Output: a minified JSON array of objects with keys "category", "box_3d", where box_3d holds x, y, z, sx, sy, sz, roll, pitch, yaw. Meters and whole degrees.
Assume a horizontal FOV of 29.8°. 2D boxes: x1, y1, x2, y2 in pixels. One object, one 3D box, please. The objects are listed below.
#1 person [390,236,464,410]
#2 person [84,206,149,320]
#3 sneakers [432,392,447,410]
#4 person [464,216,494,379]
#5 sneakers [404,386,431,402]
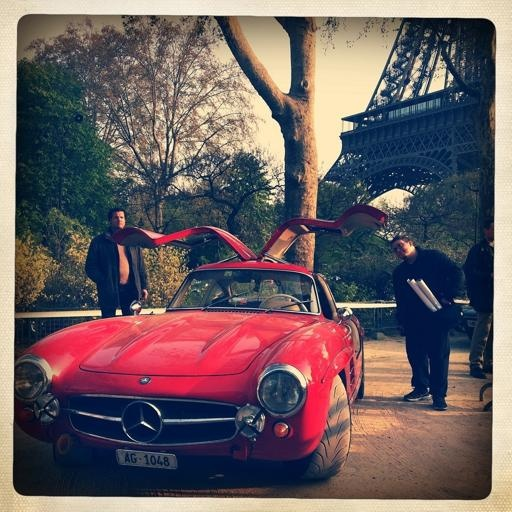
[{"category":"person","box_3d":[2.121,0.794,12.214,0.949,2.051,0.731,8,15,37]},{"category":"person","box_3d":[-1.832,0.241,12.972,0.743,1.899,0.548,-6,36,-13]},{"category":"sneakers","box_3d":[2.277,1.806,11.933,0.190,0.158,0.194,2,12,11]},{"category":"person","box_3d":[3.103,0.638,13.488,0.405,2.134,0.496,2,12,12]},{"category":"sneakers","box_3d":[2.057,1.749,12.309,0.350,0.175,0.143,2,-7,-14]}]
